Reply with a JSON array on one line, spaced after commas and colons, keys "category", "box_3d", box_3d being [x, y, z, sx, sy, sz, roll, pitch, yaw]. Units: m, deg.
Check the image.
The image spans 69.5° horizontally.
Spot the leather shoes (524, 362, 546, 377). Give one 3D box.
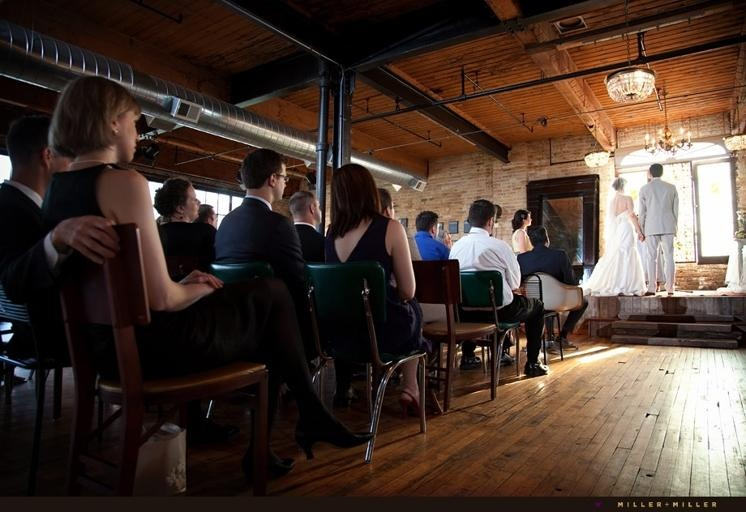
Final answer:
[{"category": "leather shoes", "box_3d": [1.680, 1.206, 5.674, 0.239, 0.133, 0.116, -2, -3, -13]}]

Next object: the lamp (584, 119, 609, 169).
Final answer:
[{"category": "lamp", "box_3d": [5.040, -2.471, 12.225, 0.516, 1.035, 2.021, -3, -4, 22]}]

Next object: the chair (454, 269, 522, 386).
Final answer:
[{"category": "chair", "box_3d": [1.047, 0.655, 5.178, 0.562, 0.915, 0.639, -2, -6, 34]}]

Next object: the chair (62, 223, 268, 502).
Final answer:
[{"category": "chair", "box_3d": [-1.222, 0.648, 3.185, 0.913, 1.432, 1.013, -3, -6, 28]}]

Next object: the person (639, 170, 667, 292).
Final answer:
[{"category": "person", "box_3d": [4.756, -0.333, 8.997, 0.568, 1.961, 0.334, -3, -4, 31]}]

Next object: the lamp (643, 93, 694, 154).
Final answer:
[{"category": "lamp", "box_3d": [5.994, -2.749, 11.071, 0.836, 1.218, 0.786, -11, 8, -36]}]

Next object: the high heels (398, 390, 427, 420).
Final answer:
[{"category": "high heels", "box_3d": [0.323, 1.198, 4.286, 0.155, 0.138, 0.305, -6, -15, 35]}]

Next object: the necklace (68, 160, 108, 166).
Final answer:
[{"category": "necklace", "box_3d": [-1.578, -0.504, 2.961, 0.091, 0.019, 0.083, -1, 2, -44]}]

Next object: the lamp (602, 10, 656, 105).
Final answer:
[{"category": "lamp", "box_3d": [3.582, -2.681, 7.562, 0.666, 1.076, 0.689, -2, -4, 8]}]

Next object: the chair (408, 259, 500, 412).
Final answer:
[{"category": "chair", "box_3d": [0.604, 0.651, 4.711, 0.779, 1.173, 0.844, 1, -1, 35]}]
